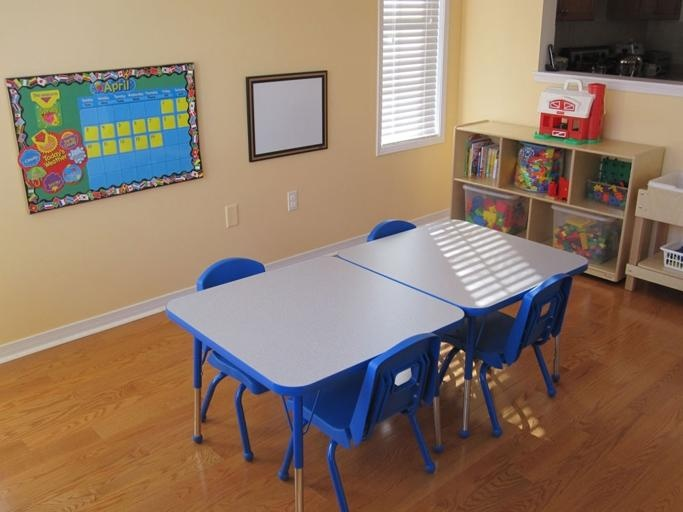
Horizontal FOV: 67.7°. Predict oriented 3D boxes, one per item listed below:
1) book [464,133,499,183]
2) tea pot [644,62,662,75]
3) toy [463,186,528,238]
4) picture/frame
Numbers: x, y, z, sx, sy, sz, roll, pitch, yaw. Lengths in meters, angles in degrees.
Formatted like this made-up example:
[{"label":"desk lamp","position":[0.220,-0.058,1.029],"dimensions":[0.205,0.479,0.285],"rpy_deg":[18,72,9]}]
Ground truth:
[{"label":"book","position":[1.179,-0.821,4.308],"dimensions":[0.319,0.339,0.180],"rpy_deg":[-16,28,-32]},{"label":"tea pot","position":[3.235,-1.955,5.310],"dimensions":[0.164,0.156,0.107],"rpy_deg":[-24,38,-23]},{"label":"toy","position":[1.320,-0.400,4.397],"dimensions":[0.355,0.330,0.503],"rpy_deg":[-20,29,-41]},{"label":"picture/frame","position":[-0.417,-1.035,3.681],"dimensions":[0.629,0.566,0.046],"rpy_deg":[-10,15,-35]}]
